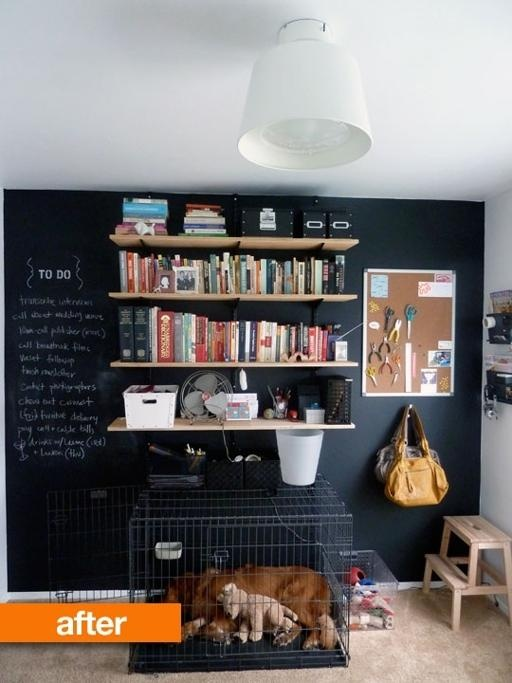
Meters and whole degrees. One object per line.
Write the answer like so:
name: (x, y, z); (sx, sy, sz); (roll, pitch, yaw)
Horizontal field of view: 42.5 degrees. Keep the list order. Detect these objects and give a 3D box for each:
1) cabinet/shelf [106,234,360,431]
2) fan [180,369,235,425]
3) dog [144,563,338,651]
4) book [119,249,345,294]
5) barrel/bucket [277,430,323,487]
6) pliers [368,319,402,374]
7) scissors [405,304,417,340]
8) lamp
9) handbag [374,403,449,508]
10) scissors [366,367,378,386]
cabinet/shelf: (-0.097, -0.073, 3.452); (1.311, 0.954, 0.386); (-1, 6, -10)
fan: (-0.270, 0.290, 3.450); (0.250, 0.258, 0.142); (5, 2, -10)
dog: (-0.017, 1.240, 3.157); (0.978, 0.318, 0.466); (3, -1, -4)
book: (-0.155, -0.347, 3.361); (1.220, 0.241, 0.208); (0, 1, -8)
barrel/bucket: (0.219, 0.582, 3.316); (0.253, 0.251, 0.242); (2, 3, 0)
pliers: (0.716, 0.027, 3.624); (0.189, 0.288, 0.042); (3, 5, -6)
scissors: (0.856, -0.112, 3.620); (0.071, 0.163, 0.039); (1, 3, 0)
lamp: (0.145, -0.783, 2.042); (0.404, 0.455, 0.332); (-1, 6, -2)
handbag: (0.817, 0.557, 3.566); (0.360, 0.590, 0.249); (2, 3, -14)
scissors: (0.637, 0.191, 3.622); (0.051, 0.089, 0.021); (-12, 0, -18)
